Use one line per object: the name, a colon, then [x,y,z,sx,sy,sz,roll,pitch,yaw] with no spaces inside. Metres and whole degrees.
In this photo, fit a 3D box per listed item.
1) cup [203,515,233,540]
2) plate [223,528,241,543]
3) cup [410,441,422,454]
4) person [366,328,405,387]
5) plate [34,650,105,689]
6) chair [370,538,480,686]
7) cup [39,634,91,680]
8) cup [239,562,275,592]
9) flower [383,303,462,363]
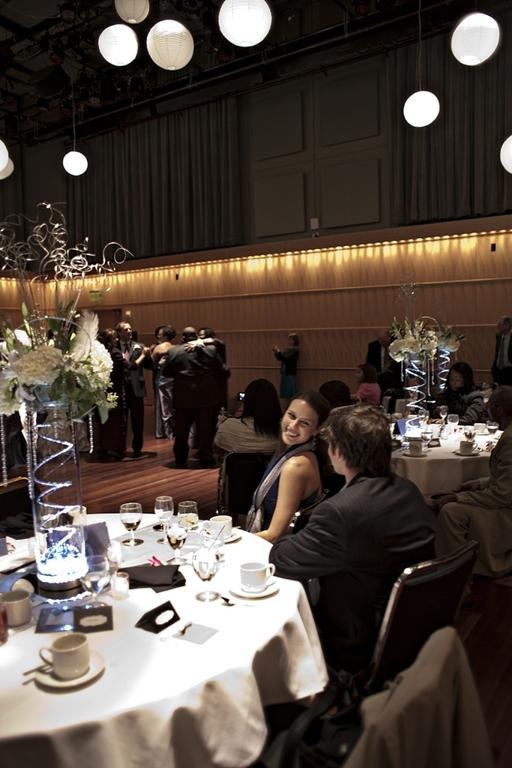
cup: [-0.142,0.498,1.879,0.101,0.075,0.069,-1,1,26]
plate: [-0.089,0.557,1.949,0.039,0.047,0.041,6,-22,-17]
cup: [1.103,0.445,3.730,0.067,0.074,0.092,-2,-8,1]
person: [1.897,-0.271,7.810,0.459,1.288,0.333,-7,37,15]
plate: [-0.363,0.557,1.034,0.131,0.019,0.123,-4,3,-23]
chair: [0.441,0.607,1.366,0.323,0.371,0.164,-4,3,-26]
cup: [-0.382,0.534,1.057,0.094,0.067,0.063,-11,-1,14]
cup: [0.001,0.519,1.449,0.081,0.063,0.061,4,-10,-32]
flower: [1.909,-0.585,6.005,0.943,0.585,0.928,-2,5,-42]
